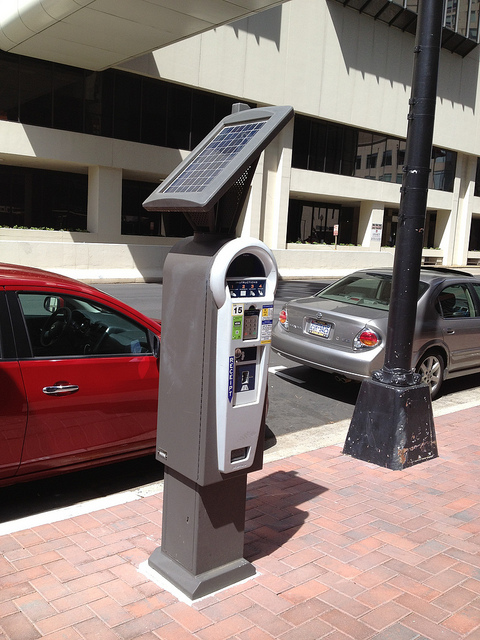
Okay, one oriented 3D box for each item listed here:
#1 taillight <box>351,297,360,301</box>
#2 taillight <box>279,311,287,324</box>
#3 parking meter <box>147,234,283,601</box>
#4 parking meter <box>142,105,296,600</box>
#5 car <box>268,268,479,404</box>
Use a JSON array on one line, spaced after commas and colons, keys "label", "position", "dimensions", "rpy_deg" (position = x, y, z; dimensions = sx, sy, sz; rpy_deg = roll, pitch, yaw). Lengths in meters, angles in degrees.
[{"label": "taillight", "position": [1.470, -0.264, 6.593], "dimensions": [0.027, 0.022, 0.114], "rpy_deg": [2, 9, -18]}, {"label": "taillight", "position": [0.585, -0.029, 6.958], "dimensions": [0.083, 0.153, 0.037], "rpy_deg": [-2, -10, 38]}, {"label": "parking meter", "position": [-0.114, 0.436, 2.427], "dimensions": [0.444, 1.648, 0.527], "rpy_deg": [0, 3, -40]}, {"label": "parking meter", "position": [-0.120, 0.118, 2.401], "dimensions": [0.538, 2.282, 0.603], "rpy_deg": [0, 3, -37]}, {"label": "car", "position": [1.711, 0.347, 6.383], "dimensions": [3.064, 1.052, 1.472], "rpy_deg": [-13, 17, -37]}]
